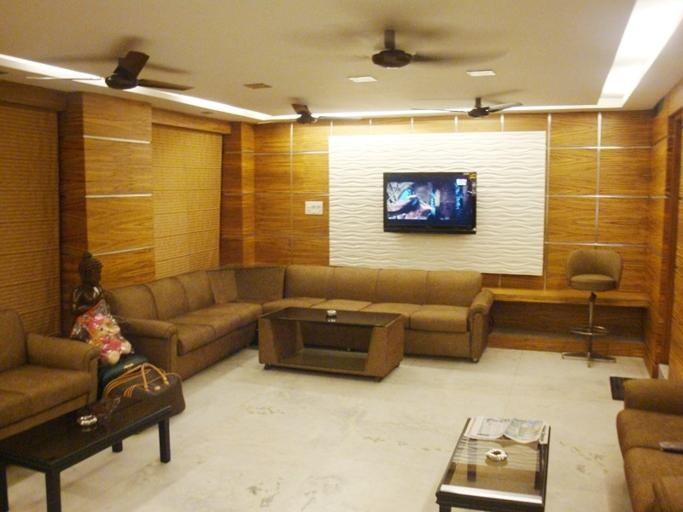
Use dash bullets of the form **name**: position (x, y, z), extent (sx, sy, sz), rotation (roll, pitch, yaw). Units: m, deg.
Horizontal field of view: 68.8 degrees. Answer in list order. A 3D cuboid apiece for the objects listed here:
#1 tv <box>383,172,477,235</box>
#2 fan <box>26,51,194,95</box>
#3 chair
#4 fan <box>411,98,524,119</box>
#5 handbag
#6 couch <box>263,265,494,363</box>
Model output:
- **tv**: position (1.369, -0.801, 7.358), extent (1.167, 0.629, 0.045), rotation (1, 7, 15)
- **fan**: position (-1.739, -1.514, 4.142), extent (0.758, 0.145, 0.655), rotation (1, 5, -6)
- **chair**: position (3.281, 0.632, 6.539), extent (0.652, 1.396, 0.988), rotation (4, 12, 23)
- **fan**: position (1.682, -1.941, 6.503), extent (0.600, 0.119, 0.585), rotation (-4, 7, -36)
- **handbag**: position (-1.819, 1.225, 4.630), extent (0.406, 0.451, 0.749), rotation (6, 5, 37)
- **couch**: position (0.535, 0.719, 7.151), extent (3.169, 1.078, 1.236), rotation (0, 1, 21)
